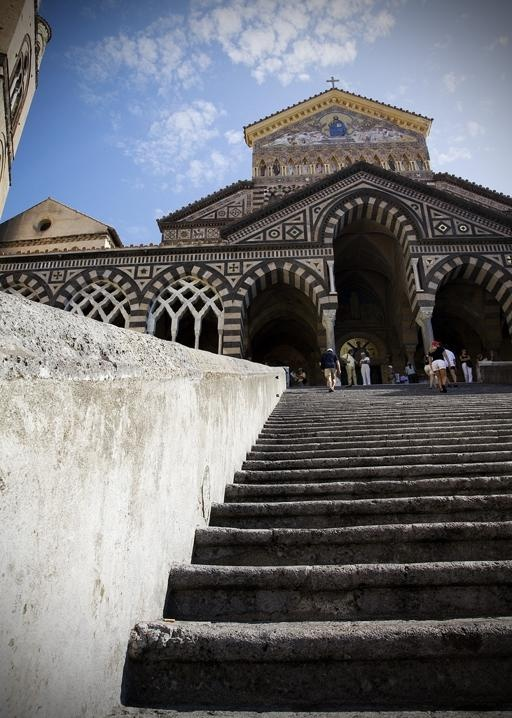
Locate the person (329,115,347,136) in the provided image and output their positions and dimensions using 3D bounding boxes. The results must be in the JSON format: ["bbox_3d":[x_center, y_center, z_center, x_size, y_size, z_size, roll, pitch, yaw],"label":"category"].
[{"bbox_3d":[4.373,-11.949,23.894,0.843,1.319,0.941,-2,-12,2],"label":"person"}]
